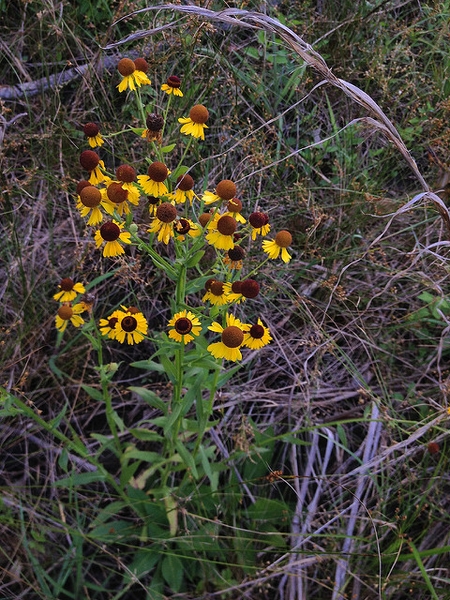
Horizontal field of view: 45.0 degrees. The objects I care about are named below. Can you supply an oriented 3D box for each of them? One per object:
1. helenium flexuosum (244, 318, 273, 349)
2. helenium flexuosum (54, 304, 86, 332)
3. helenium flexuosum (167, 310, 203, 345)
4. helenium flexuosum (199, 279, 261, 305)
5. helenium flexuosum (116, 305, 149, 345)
[{"bbox_3d":[0.134,0.147,2.390,0.119,0.164,0.134,7,79,-3],"label":"helenium flexuosum"},{"bbox_3d":[-0.725,0.094,2.603,0.133,0.352,0.139,2,79,-4],"label":"helenium flexuosum"},{"bbox_3d":[-0.171,0.118,2.332,0.126,0.298,0.149,19,78,-1],"label":"helenium flexuosum"},{"bbox_3d":[0.021,-0.036,2.311,0.182,0.067,0.129,-12,74,-2],"label":"helenium flexuosum"},{"bbox_3d":[-0.405,0.123,2.342,0.137,0.053,0.143,-38,45,-17],"label":"helenium flexuosum"}]
